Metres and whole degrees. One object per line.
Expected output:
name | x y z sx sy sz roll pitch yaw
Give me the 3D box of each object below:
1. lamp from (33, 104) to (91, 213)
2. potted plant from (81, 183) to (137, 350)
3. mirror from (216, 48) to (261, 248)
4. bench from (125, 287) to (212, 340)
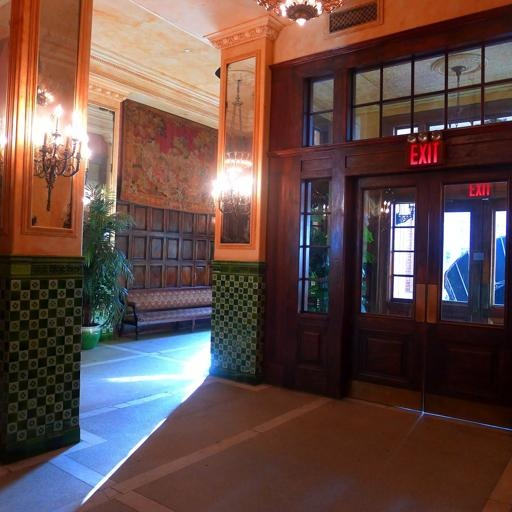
lamp | -1.583 -0.817 3.647 0.407 0.741 0.374 1 -1 -29
potted plant | -2.596 0.179 7.793 0.780 2.190 1.402 1 -1 -5
mirror | -0.250 -1.365 5.801 0.549 2.396 0.160 1 -1 31
bench | -1.884 1.141 9.568 0.784 0.678 2.234 1 -1 36
